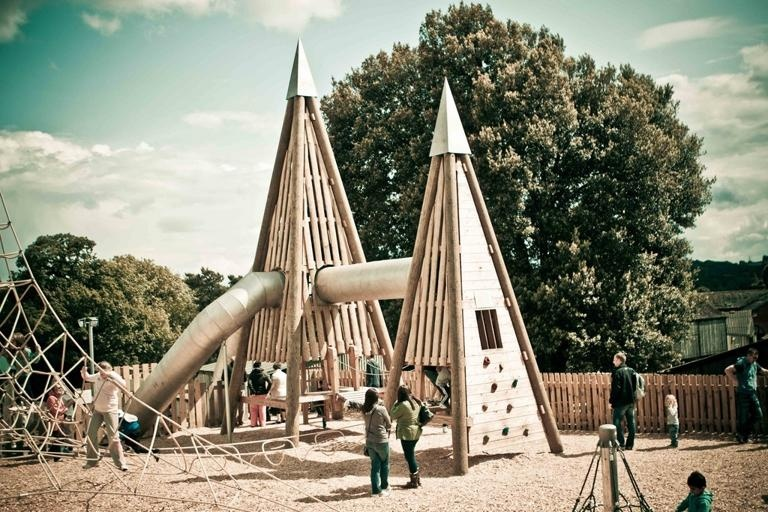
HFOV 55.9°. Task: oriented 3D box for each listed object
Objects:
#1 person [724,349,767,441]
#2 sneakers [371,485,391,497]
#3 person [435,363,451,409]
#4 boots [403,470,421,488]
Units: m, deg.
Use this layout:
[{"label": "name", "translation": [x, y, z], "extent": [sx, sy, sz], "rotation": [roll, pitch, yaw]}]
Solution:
[{"label": "person", "translation": [10.446, 4.023, 20.789], "extent": [0.963, 2.604, 1.073], "rotation": [-8, -14, 25]}, {"label": "sneakers", "translation": [-0.038, 5.881, 17.953], "extent": [0.516, 0.190, 0.246], "rotation": [5, -16, -29]}, {"label": "person", "translation": [1.705, 3.782, 20.763], "extent": [0.387, 1.192, 0.619], "rotation": [-1, -13, -5]}, {"label": "boots", "translation": [0.635, 5.700, 18.292], "extent": [0.475, 0.499, 0.262], "rotation": [-6, -13, 26]}]
